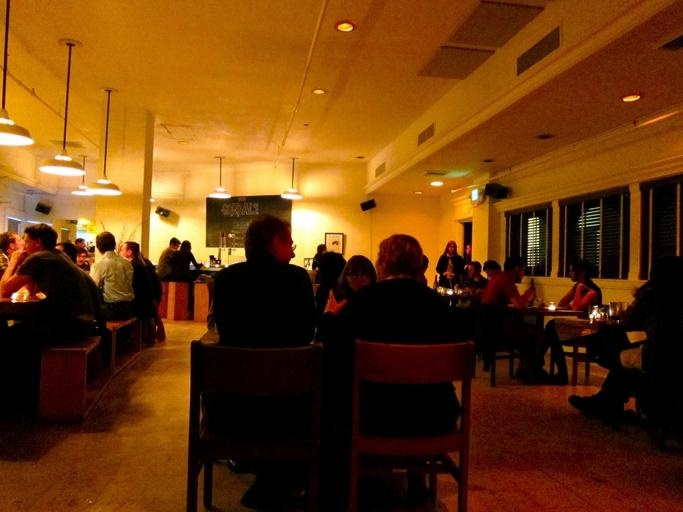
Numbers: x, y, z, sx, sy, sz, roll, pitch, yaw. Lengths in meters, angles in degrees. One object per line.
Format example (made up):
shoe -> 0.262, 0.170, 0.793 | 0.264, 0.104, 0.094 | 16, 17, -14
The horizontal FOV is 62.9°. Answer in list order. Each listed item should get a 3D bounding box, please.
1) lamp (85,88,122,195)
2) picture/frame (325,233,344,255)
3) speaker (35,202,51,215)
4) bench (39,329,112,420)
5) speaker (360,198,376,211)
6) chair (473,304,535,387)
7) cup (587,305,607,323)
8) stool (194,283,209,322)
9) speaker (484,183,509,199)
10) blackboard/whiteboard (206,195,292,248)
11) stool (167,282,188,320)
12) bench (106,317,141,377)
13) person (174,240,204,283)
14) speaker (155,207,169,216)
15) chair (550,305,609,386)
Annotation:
lamp -> -3.515, -1.704, 8.447 | 0.454, 1.668, 1.858 | 2, 0, -22
picture/frame -> -0.128, -0.291, 12.424 | 0.477, 0.557, 0.058 | 2, 4, 9
speaker -> -8.500, -1.375, 16.068 | 0.394, 0.375, 0.515 | 2, 0, -20
bench -> -2.377, 1.062, 5.005 | 0.252, 0.465, 0.801 | 1, 0, -5
speaker -> 0.626, -1.196, 13.140 | 0.427, 0.237, 0.278 | 2, 3, 24
chair -> 2.072, 0.942, 6.598 | 0.626, 0.994, 0.667 | 14, 0, 22
cup -> 2.592, 0.591, 5.658 | 0.122, 0.131, 0.184 | 1, -1, 26
stool -> -2.555, 0.835, 10.450 | 0.299, 0.547, 0.181 | 8, 12, 13
speaker -> 2.854, -1.178, 10.187 | 0.482, 0.307, 0.281 | 2, 0, 25
blackboard/whiteboard -> -2.329, -0.849, 13.997 | 2.207, 1.308, 0.031 | -1, -2, 6
stool -> -3.068, 0.834, 10.576 | 0.400, 0.658, 0.179 | 2, -1, -8
bench -> -2.507, 1.050, 6.459 | 0.246, 0.372, 0.631 | -1, 1, 0
person -> -2.942, 0.023, 10.776 | 0.493, 0.770, 0.581 | 3, 20, -3
speaker -> -4.684, -1.179, 14.727 | 0.374, 0.263, 0.236 | 2, 0, -6
chair -> 2.637, 1.082, 6.397 | 0.494, 0.580, 0.535 | 2, -14, 9
